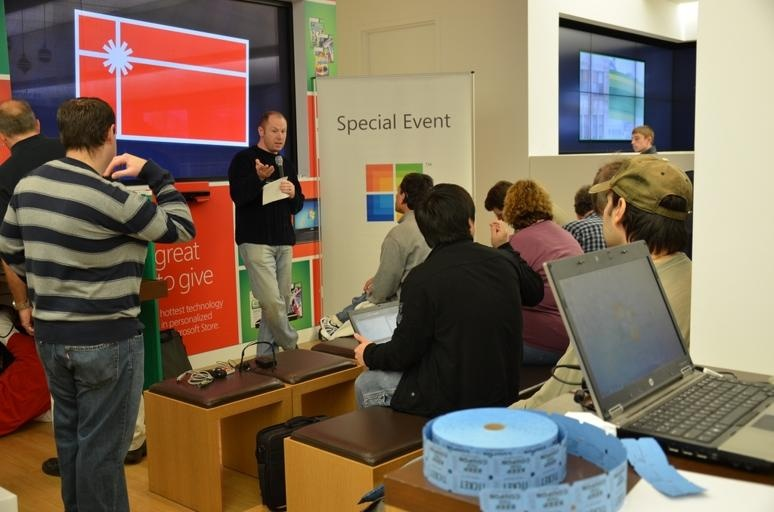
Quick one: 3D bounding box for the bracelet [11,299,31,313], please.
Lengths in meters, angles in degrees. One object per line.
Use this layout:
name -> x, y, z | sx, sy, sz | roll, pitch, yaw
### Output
bracelet -> -2.184, 0.290, 3.518 | 0.098, 0.069, 0.102 | -1, 4, 0

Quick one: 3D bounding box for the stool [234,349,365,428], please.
stool -> -0.432, 0.922, 3.799 | 0.610, 0.512, 0.633 | -10, 2, -2

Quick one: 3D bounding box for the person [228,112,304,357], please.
person -> -0.975, -0.160, 4.940 | 0.596, 2.058, 0.620 | -4, 8, -24

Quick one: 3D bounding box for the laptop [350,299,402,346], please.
laptop -> -0.069, 0.375, 3.358 | 0.198, 0.180, 0.284 | -7, 6, 45

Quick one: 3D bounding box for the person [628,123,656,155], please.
person -> 3.009, -1.390, 6.981 | 0.219, 0.337, 1.117 | 2, 9, 22

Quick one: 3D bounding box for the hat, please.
hat -> 0.970, -0.281, 2.224 | 0.251, 0.184, 0.369 | 2, 21, -13

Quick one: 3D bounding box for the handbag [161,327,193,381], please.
handbag -> -1.574, 0.725, 4.359 | 0.105, 0.377, 0.278 | -15, -2, 31

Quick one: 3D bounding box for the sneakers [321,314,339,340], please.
sneakers -> -0.498, 0.621, 5.132 | 0.098, 0.132, 0.280 | 0, 10, -5
